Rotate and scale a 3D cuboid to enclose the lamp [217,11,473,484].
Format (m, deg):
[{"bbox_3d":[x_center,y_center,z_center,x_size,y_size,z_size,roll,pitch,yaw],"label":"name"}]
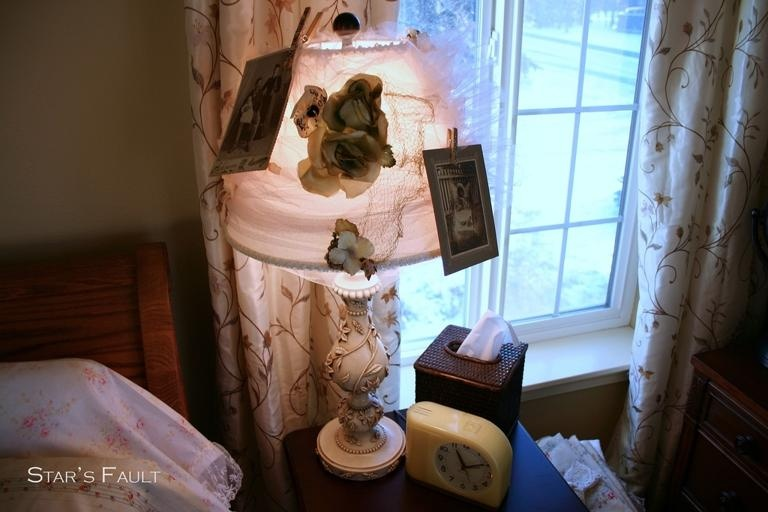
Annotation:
[{"bbox_3d":[-0.116,0.025,1.477,0.587,1.172,0.315,3,22,8],"label":"lamp"}]

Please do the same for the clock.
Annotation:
[{"bbox_3d":[0.194,0.533,1.547,0.202,0.177,0.091,14,37,23],"label":"clock"}]

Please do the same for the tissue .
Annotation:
[{"bbox_3d":[0.235,0.380,1.791,0.338,0.375,0.274,12,33,20],"label":"tissue "}]
